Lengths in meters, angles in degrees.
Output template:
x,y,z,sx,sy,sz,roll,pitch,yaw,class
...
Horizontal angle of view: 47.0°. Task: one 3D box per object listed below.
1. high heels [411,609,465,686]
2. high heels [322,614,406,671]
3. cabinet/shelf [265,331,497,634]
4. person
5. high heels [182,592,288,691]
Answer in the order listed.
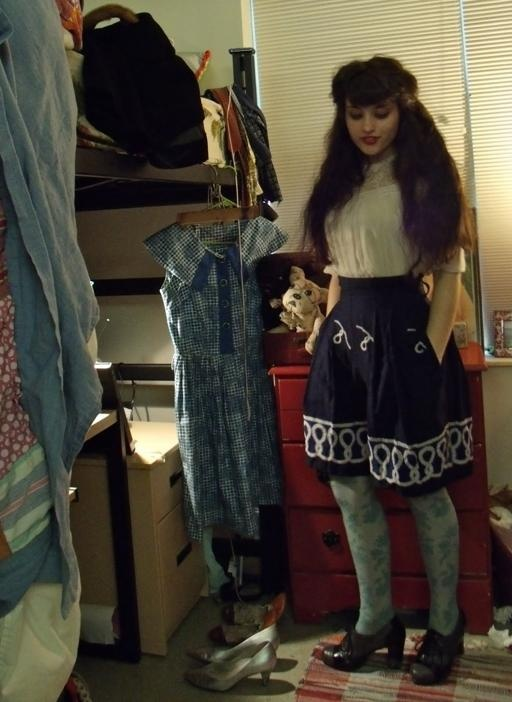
x,y,z,sx,sy,sz,roll,pitch,yaw,class
0.524,0.784,1.605,0.082,0.113,0.253,-13,3,36,high heels
0.293,0.804,1.673,0.283,0.180,0.106,-3,-1,10,high heels
0.454,0.368,1.976,0.661,0.914,0.516,-4,6,27,cabinet/shelf
0.334,0.078,1.536,0.470,1.165,0.299,-5,2,10,person
-0.054,0.870,1.717,0.191,0.108,0.146,-8,5,1,high heels
